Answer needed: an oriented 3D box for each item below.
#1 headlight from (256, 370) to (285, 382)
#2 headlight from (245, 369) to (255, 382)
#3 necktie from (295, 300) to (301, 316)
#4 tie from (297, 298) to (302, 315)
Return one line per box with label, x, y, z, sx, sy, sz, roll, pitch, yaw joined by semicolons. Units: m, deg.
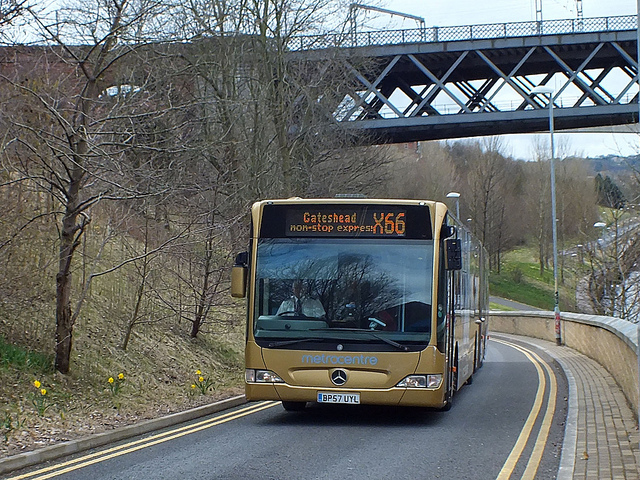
headlight;-0.890;2.416;12.250;0.484;0.212;0.048;0;-1;3
headlight;-1.250;2.406;12.414;0.158;0.253;0.238;1;-5;4
necktie;-0.383;1.188;12.329;0.082;0.222;0.009;0;-1;14
tie;-0.361;1.198;12.322;0.083;0.266;0.023;0;-1;7
